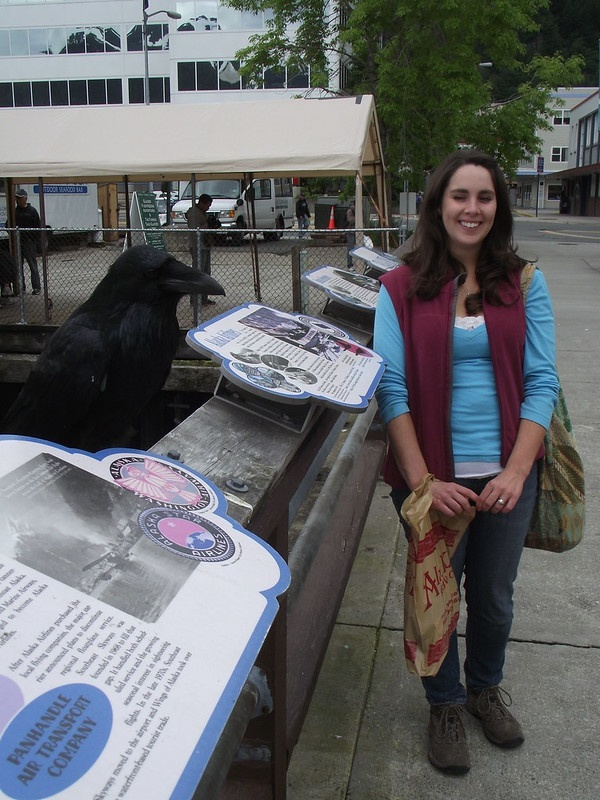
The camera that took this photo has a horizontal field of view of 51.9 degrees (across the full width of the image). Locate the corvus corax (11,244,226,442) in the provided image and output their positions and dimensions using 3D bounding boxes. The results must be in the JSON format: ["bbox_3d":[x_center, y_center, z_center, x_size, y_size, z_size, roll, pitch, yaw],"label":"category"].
[{"bbox_3d":[-0.537,-0.118,1.719,0.646,0.606,0.310,-3,15,-10],"label":"corvus corax"}]

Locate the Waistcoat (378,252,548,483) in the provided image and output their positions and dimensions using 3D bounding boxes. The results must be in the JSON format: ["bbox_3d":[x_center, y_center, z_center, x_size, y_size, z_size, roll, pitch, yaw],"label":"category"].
[{"bbox_3d":[0.520,-0.061,2.142,0.496,0.780,0.264,4,15,17],"label":"Waistcoat"}]
